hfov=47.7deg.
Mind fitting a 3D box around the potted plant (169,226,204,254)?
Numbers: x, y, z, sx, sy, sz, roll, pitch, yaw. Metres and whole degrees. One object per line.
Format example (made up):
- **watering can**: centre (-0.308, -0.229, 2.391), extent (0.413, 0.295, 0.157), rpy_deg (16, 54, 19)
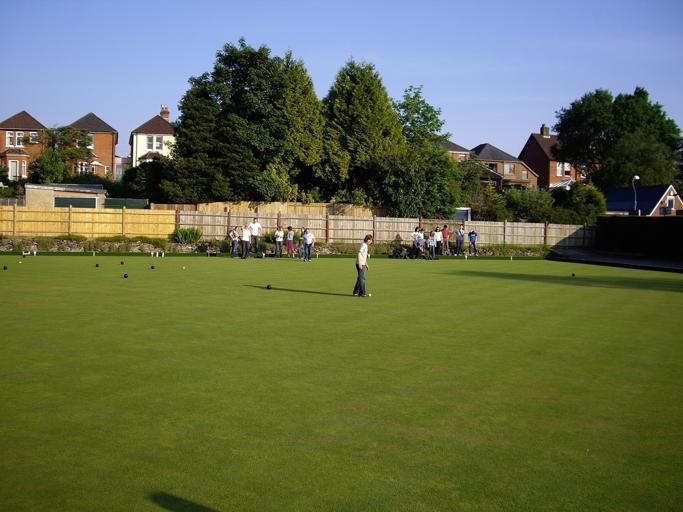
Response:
- **potted plant**: centre (-8.926, -0.895, 43.679), extent (1.473, 1.197, 1.639), rpy_deg (-1, 4, 21)
